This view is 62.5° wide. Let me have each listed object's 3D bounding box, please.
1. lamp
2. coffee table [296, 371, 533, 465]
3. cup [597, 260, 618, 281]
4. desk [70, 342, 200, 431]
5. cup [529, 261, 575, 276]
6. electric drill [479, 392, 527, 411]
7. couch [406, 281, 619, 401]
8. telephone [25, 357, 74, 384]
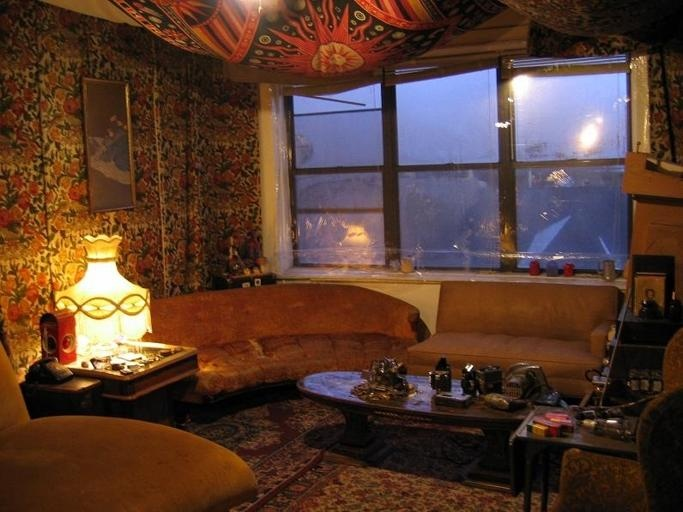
[{"bbox_3d":[-1.714,0.223,4.390,0.802,0.809,0.820,3,8,36],"label":"lamp"},{"bbox_3d":[0.478,1.168,3.944,1.659,0.476,0.589,-1,5,29],"label":"coffee table"},{"bbox_3d":[2.514,0.136,5.284,0.150,0.201,0.144,-3,4,0],"label":"cup"},{"bbox_3d":[-1.604,1.013,4.277,0.665,0.563,0.867,7,7,15],"label":"desk"},{"bbox_3d":[2.062,0.121,5.508,0.415,0.161,0.141,-1,5,22],"label":"cup"},{"bbox_3d":[1.023,0.915,3.578,0.197,0.054,0.108,3,1,43],"label":"electric drill"},{"bbox_3d":[1.520,0.760,4.966,1.647,0.812,0.897,-1,11,34],"label":"couch"},{"bbox_3d":[-2.007,0.797,3.871,0.203,0.098,0.212,2,1,12],"label":"telephone"}]
